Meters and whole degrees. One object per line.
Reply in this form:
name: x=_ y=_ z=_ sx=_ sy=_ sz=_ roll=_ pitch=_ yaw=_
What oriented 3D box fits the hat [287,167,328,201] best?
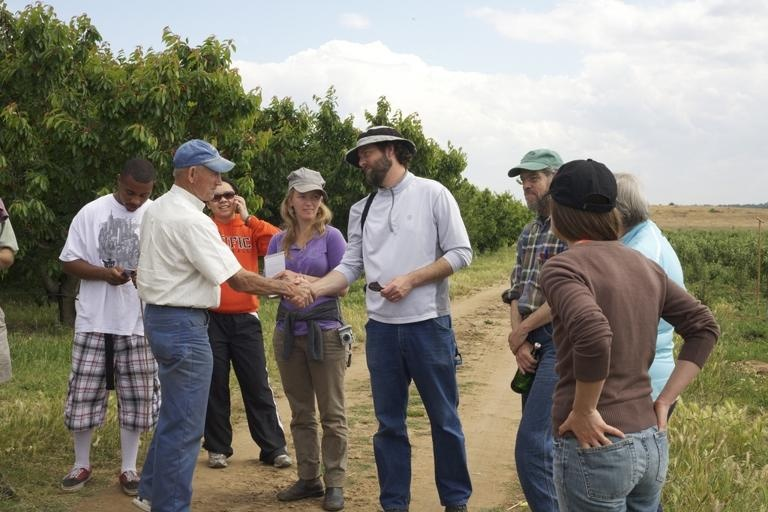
hat: x=-0.905 y=-0.816 z=8.179 sx=0.312 sy=0.206 sz=0.356 roll=4 pitch=-6 yaw=-33

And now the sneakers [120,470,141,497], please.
sneakers: x=-2.722 y=2.427 z=7.831 sx=0.168 sy=0.164 sz=0.393 roll=1 pitch=-1 yaw=-32

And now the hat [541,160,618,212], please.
hat: x=1.659 y=-0.661 z=6.185 sx=0.541 sy=0.421 sz=0.736 roll=1 pitch=16 yaw=-12

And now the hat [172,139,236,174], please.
hat: x=-1.692 y=-0.977 z=7.394 sx=0.721 sy=0.373 sz=0.455 roll=2 pitch=1 yaw=32
